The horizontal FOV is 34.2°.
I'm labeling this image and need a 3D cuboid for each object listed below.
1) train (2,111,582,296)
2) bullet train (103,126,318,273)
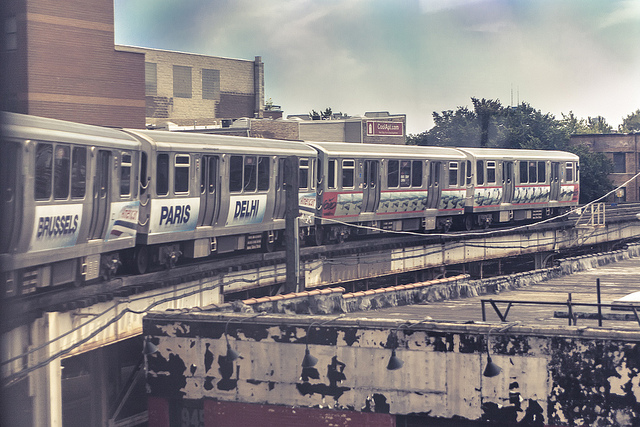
[{"bbox_3d":[1.701,-0.360,42.099,3.617,6.358,34.820,-1,-2,42],"label":"train"},{"bbox_3d":[-3.402,-0.782,35.471,0.823,3.987,7.630,-1,-3,40],"label":"bullet train"}]
